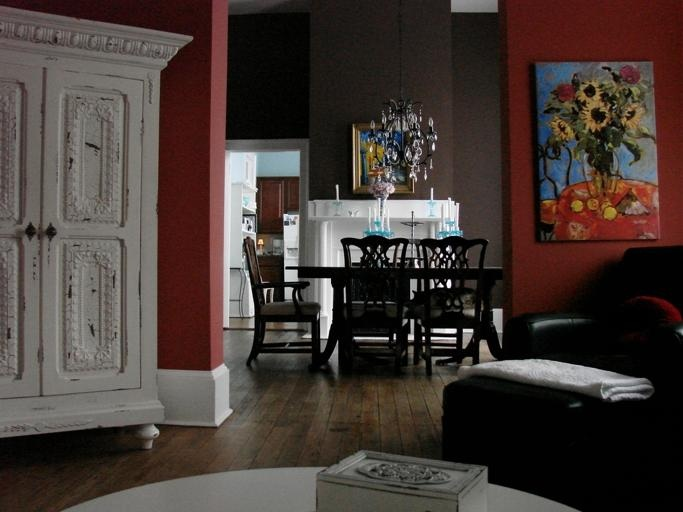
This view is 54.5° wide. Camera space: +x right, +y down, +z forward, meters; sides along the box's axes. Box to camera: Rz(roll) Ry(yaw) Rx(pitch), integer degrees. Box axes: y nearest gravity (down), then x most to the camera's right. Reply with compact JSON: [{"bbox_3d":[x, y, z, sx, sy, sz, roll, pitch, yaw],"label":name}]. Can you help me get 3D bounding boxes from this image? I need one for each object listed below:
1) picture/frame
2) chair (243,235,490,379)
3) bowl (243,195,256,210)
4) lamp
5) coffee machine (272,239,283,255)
[{"bbox_3d":[0.429,-0.990,6.820,0.824,1.005,0.042,0,1,7],"label":"picture/frame"},{"bbox_3d":[0.402,0.344,5.895,1.983,1.112,1.744,0,4,13],"label":"chair"},{"bbox_3d":[-1.380,-0.797,9.932,0.161,0.235,0.239,0,-2,9],"label":"bowl"},{"bbox_3d":[0.592,-1.771,6.631,0.766,2.032,1.697,-1,4,6],"label":"lamp"},{"bbox_3d":[-0.995,-0.156,10.427,0.204,0.237,0.202,1,-1,-27],"label":"coffee machine"}]
